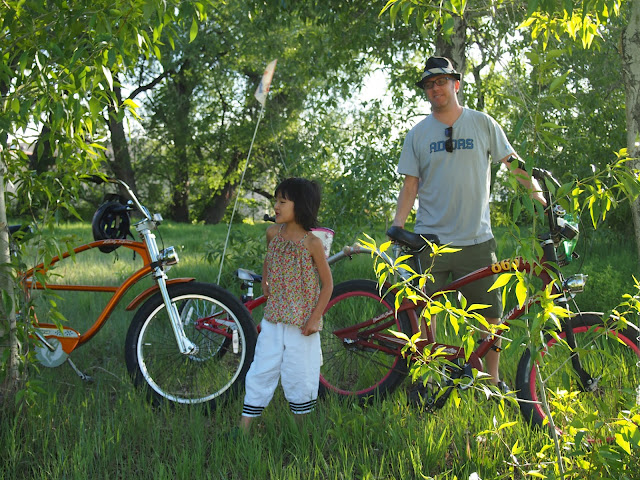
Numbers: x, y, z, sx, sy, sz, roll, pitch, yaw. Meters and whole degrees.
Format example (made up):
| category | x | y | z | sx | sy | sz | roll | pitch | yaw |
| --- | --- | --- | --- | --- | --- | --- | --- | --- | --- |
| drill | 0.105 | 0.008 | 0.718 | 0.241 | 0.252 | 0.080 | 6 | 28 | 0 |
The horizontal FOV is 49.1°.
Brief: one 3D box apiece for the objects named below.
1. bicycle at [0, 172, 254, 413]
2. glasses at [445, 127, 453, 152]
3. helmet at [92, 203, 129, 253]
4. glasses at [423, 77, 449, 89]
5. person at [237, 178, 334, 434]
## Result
| category | x | y | z | sx | sy | sz | roll | pitch | yaw |
| --- | --- | --- | --- | --- | --- | --- | --- | --- | --- |
| bicycle | -1.226 | 0.429 | 5.449 | 1.959 | 1.480 | 1.151 | 1 | 0 | 6 |
| glasses | 0.924 | -0.721 | 5.020 | 0.061 | 0.182 | 0.036 | 3 | -4 | 10 |
| helmet | -1.528 | -0.122 | 5.168 | 0.256 | 0.395 | 0.122 | 5 | 2 | -43 |
| glasses | 0.823 | -1.130 | 5.048 | 0.203 | 0.090 | 0.075 | 2 | -5 | 31 |
| person | -0.205 | 0.456 | 4.870 | 0.552 | 1.762 | 0.297 | 4 | -4 | -3 |
